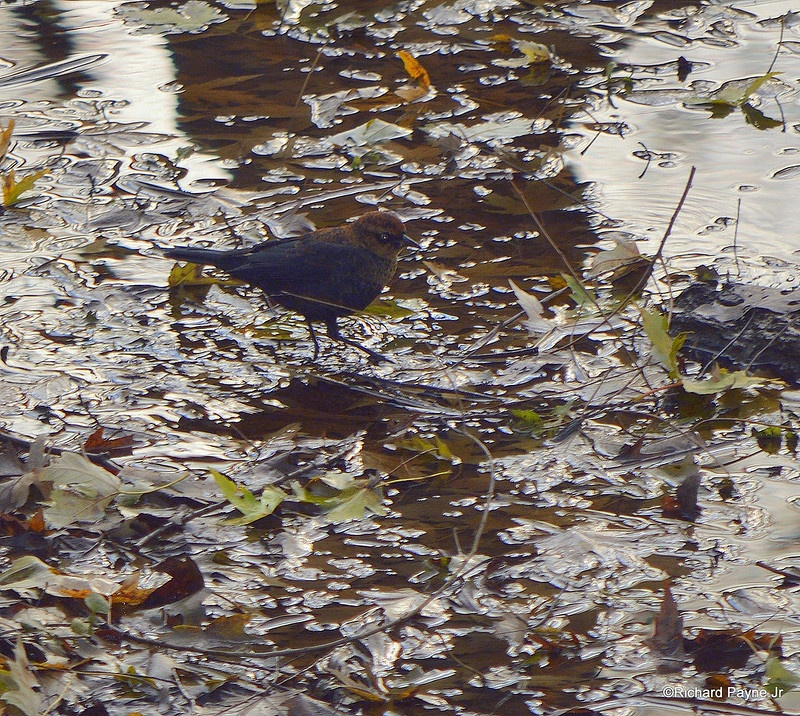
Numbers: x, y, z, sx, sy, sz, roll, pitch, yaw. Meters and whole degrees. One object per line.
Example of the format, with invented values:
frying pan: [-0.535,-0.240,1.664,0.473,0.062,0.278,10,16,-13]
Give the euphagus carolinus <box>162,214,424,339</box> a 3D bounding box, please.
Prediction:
euphagus carolinus: [-0.334,-0.438,5.394,0.927,0.366,0.752,30,51,28]
